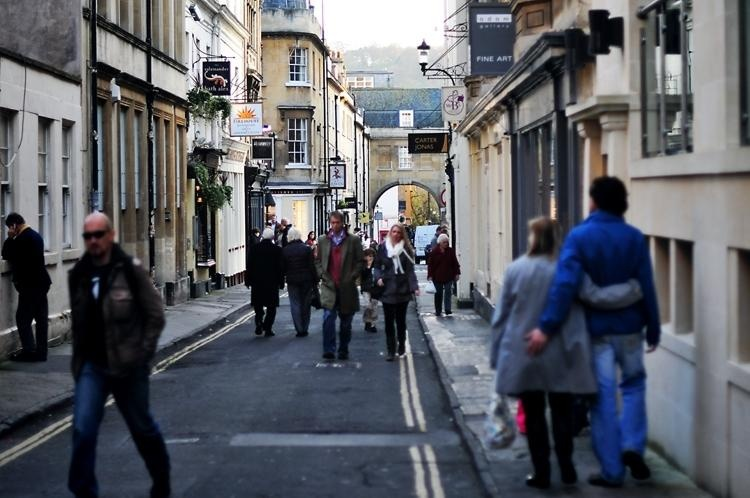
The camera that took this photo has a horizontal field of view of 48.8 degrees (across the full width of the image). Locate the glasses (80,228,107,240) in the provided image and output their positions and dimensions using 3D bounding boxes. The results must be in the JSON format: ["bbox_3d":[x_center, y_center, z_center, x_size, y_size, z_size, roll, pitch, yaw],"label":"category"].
[{"bbox_3d":[-2.455,-0.123,7.217,0.228,0.089,0.091,-1,3,10],"label":"glasses"}]

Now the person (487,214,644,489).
[{"bbox_3d":[1.635,0.949,7.659,1.132,2.496,0.551,-1,2,10],"label":"person"}]

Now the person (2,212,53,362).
[{"bbox_3d":[-5.674,0.645,13.583,0.691,2.481,0.559,-1,2,-4],"label":"person"}]

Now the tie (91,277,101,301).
[{"bbox_3d":[-2.416,0.334,7.189,0.063,0.182,0.053,-2,2,-19],"label":"tie"}]

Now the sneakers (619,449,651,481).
[{"bbox_3d":[2.408,1.976,7.654,0.147,0.382,0.152,-19,7,14],"label":"sneakers"}]

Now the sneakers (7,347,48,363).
[{"bbox_3d":[-5.827,1.788,13.934,0.620,0.310,0.248,4,0,1],"label":"sneakers"}]

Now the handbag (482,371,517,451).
[{"bbox_3d":[1.199,1.581,8.113,0.307,0.420,0.777,0,-35,7],"label":"handbag"}]
